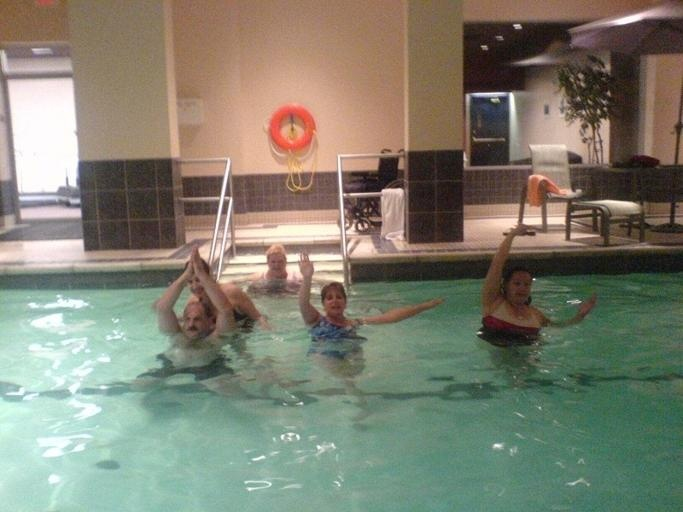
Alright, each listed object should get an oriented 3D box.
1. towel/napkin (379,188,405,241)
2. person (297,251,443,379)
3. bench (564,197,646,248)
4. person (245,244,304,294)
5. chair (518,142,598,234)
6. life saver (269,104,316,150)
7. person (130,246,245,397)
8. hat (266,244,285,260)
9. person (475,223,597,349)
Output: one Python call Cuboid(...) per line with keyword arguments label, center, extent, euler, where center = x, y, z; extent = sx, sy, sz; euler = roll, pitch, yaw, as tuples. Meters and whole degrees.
Cuboid(label="towel/napkin", center=(0.712, -0.572, 7.852), extent=(0.336, 0.706, 0.213), euler=(-4, 9, -3))
Cuboid(label="person", center=(0.298, 0.578, 5.450), extent=(0.890, 0.399, 0.978), euler=(12, 40, -19))
Cuboid(label="bench", center=(3.457, -0.465, 7.438), extent=(0.874, 0.431, 0.620), euler=(-5, 10, -32))
Cuboid(label="person", center=(-0.748, 0.155, 6.607), extent=(0.805, 0.595, 0.402), euler=(5, 10, 4))
Cuboid(label="chair", center=(3.151, -1.018, 8.332), extent=(0.842, 1.195, 0.857), euler=(-3, 15, -7))
Cuboid(label="life saver", center=(-0.953, -2.271, 10.183), extent=(0.244, 0.858, 0.883), euler=(8, -26, -42))
Cuboid(label="person", center=(-1.237, 0.535, 4.682), extent=(0.820, 1.075, 0.684), euler=(1, 3, 4))
Cuboid(label="hat", center=(-0.759, -0.043, 6.552), extent=(0.164, 0.198, 0.221), euler=(1, 5, -2))
Cuboid(label="person", center=(1.748, 0.193, 5.047), extent=(1.250, 1.013, 0.693), euler=(-10, 12, -40))
